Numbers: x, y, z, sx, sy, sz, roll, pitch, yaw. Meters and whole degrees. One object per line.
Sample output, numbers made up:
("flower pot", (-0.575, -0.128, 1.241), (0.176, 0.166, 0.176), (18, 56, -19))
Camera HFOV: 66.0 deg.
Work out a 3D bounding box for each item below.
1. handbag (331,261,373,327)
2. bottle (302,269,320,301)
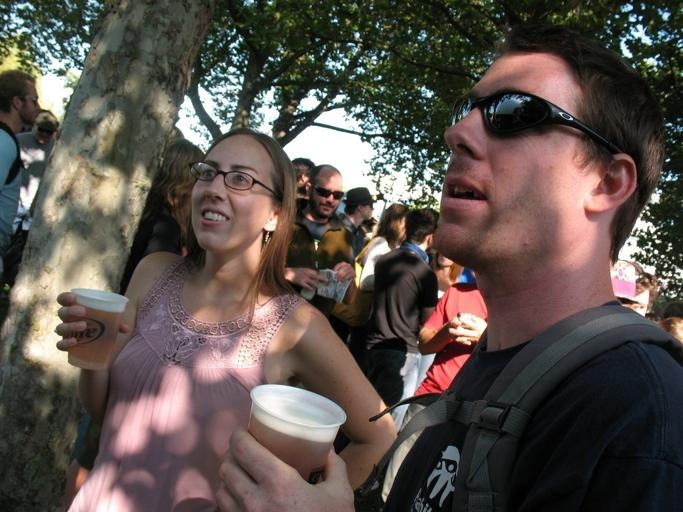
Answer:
("handbag", (0.109, 0.447, 5.517), (0.435, 0.603, 0.315), (28, -15, 9))
("bottle", (-0.252, 0.267, 4.473), (0.108, 0.282, 0.117), (11, 16, -3))
